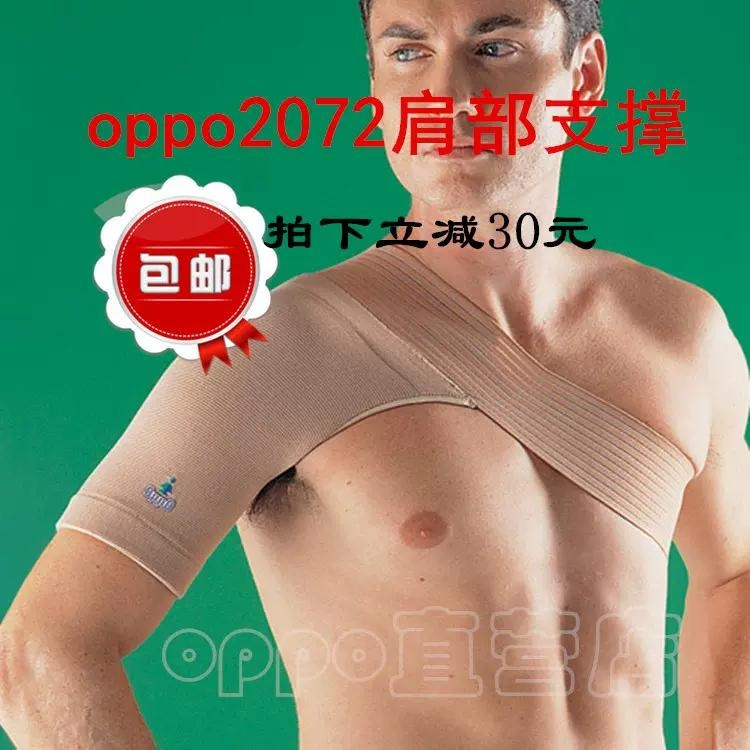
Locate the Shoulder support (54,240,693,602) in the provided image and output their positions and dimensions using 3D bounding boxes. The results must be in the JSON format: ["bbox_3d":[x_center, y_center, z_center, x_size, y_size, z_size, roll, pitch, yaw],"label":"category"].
[{"bbox_3d":[0.008,0.055,1.493,0.887,0.479,0.175,1,4,-13],"label":"Shoulder support"}]
